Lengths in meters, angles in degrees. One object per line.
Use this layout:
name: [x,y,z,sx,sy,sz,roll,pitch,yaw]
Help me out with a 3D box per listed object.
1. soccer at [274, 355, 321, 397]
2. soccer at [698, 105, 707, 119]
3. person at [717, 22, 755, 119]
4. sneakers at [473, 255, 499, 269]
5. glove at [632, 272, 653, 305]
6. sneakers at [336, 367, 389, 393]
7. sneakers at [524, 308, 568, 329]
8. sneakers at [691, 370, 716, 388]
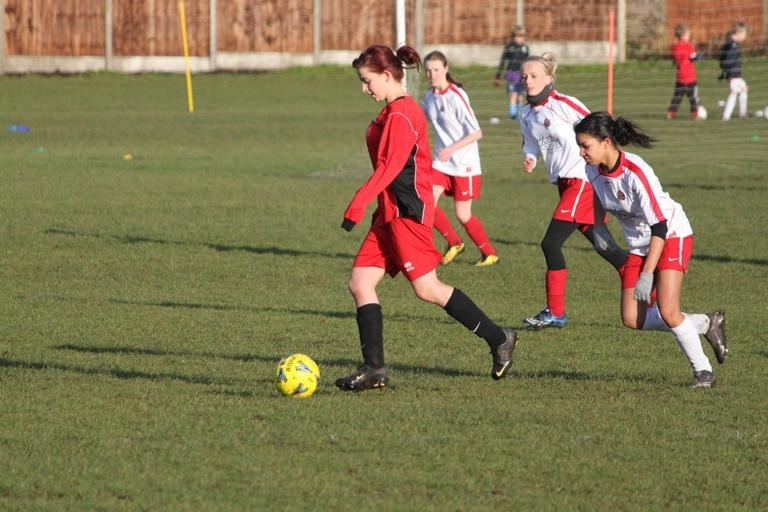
soccer: [-0.958,1.291,16.611,0.469,0.446,0.470,-8,25,-8]
soccer: [5.650,-2.597,26.933,0.183,0.239,0.222,3,7,-2]
person: [6.091,-3.214,26.373,0.553,1.793,1.485,4,13,12]
sneakers: [1.355,0.082,20.037,0.331,0.139,0.119,-11,-3,-20]
glove: [2.826,0.336,16.450,0.156,0.346,0.275,9,15,30]
sneakers: [-0.233,1.371,16.512,0.543,0.243,0.243,1,2,-11]
sneakers: [1.905,0.776,18.085,0.591,0.281,0.199,1,-3,1]
sneakers: [3.489,1.369,16.595,0.338,0.228,0.122,-1,4,11]
